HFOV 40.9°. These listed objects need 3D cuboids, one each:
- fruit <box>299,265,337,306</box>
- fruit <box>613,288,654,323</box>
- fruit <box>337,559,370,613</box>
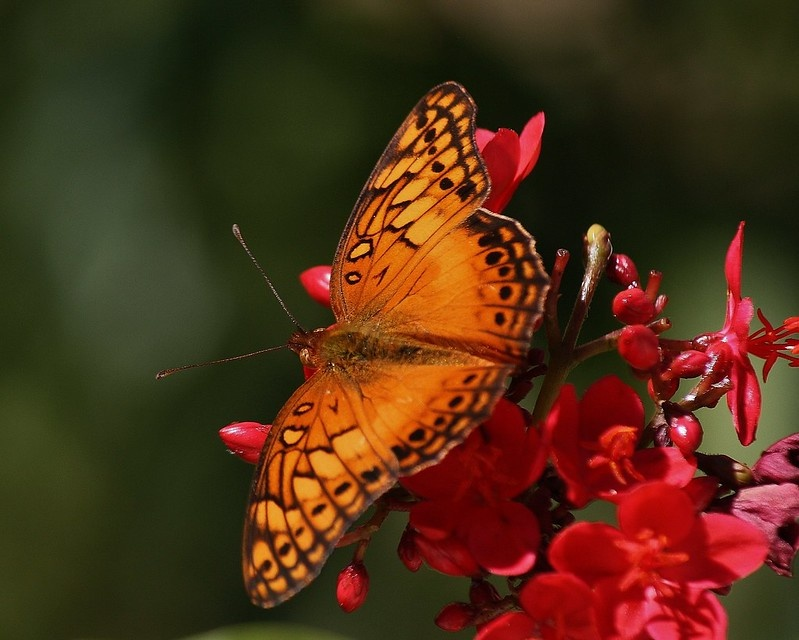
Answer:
[{"bbox_3d":[-0.268,-0.133,3.949,0.074,0.172,0.228,-2,0,-26],"label":"fruit"},{"bbox_3d":[0.739,-0.040,3.444,0.103,0.120,0.073,-35,2,-8],"label":"fruit"},{"bbox_3d":[-0.166,0.847,3.400,0.048,0.154,0.120,9,15,-44],"label":"fruit"}]
